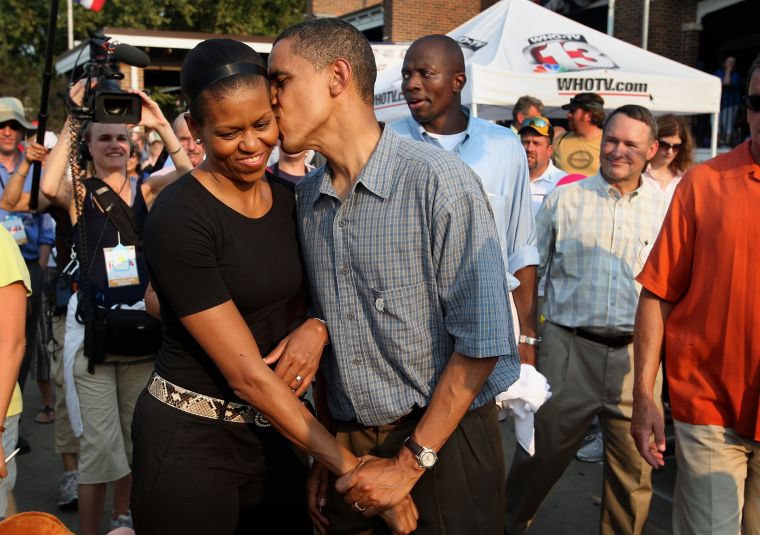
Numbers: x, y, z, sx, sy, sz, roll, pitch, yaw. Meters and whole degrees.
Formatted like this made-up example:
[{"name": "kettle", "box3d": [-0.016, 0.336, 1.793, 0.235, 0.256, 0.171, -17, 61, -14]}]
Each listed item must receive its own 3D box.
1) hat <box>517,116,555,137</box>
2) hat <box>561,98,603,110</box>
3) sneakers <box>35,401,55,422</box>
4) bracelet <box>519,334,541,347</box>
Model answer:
[{"name": "hat", "box3d": [1.663, -1.456, 8.076, 0.212, 0.122, 0.316, 5, 0, 31]}, {"name": "hat", "box3d": [2.307, -1.861, 8.770, 0.401, 0.156, 0.292, 0, 5, 5]}, {"name": "sneakers", "box3d": [-3.178, 1.399, 7.331, 0.093, 0.101, 0.228, 2, -3, -6]}, {"name": "bracelet", "box3d": [0.920, 0.456, 4.771, 0.113, 0.065, 0.112, 17, -3, -35]}]
